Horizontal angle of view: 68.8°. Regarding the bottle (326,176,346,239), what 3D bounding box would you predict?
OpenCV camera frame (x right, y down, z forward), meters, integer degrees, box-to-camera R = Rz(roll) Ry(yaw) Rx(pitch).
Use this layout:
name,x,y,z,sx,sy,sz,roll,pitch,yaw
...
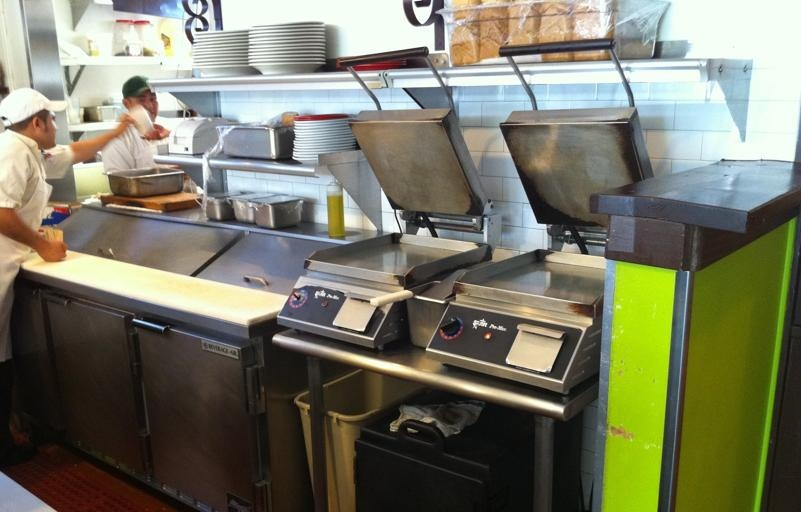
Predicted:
name,x,y,z,sx,sy,sz,roll,pitch,yaw
bottle,-0.392,-0.282,3.458,0.120,0.329,0.255,-9,18,-7

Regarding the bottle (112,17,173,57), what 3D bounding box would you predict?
name,x,y,z,sx,sy,sz,roll,pitch,yaw
bottle,-2.564,-2.153,5.792,0.214,0.347,0.593,8,22,38

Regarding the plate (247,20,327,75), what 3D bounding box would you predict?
name,x,y,z,sx,sy,sz,roll,pitch,yaw
plate,-0.661,-1.130,3.249,0.417,0.203,0.381,-1,4,-1

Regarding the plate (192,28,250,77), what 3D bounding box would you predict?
name,x,y,z,sx,sy,sz,roll,pitch,yaw
plate,-1.086,-1.228,3.509,0.350,0.169,0.320,-2,7,-11

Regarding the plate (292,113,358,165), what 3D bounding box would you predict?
name,x,y,z,sx,sy,sz,roll,pitch,yaw
plate,-0.418,-0.646,3.300,0.330,0.192,0.325,-9,12,-44

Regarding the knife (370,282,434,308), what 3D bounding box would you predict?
name,x,y,z,sx,sy,sz,roll,pitch,yaw
knife,0.052,0.171,2.607,0.432,0.054,0.076,-13,21,-39

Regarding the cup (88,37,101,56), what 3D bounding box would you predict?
name,x,y,z,sx,sy,sz,roll,pitch,yaw
cup,-3.008,-2.042,5.710,0.084,0.171,0.167,-9,18,-7
